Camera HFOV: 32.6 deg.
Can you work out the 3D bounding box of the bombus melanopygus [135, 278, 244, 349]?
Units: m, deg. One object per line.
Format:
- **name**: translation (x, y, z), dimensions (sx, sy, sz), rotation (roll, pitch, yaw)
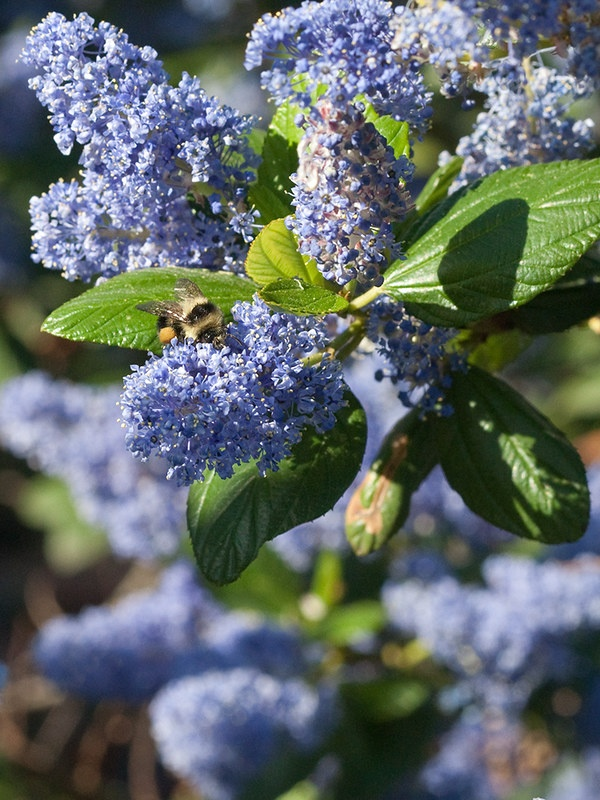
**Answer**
- **bombus melanopygus**: translation (-0.155, -0.119, 1.492), dimensions (0.111, 0.037, 0.138), rotation (-11, 30, -33)
